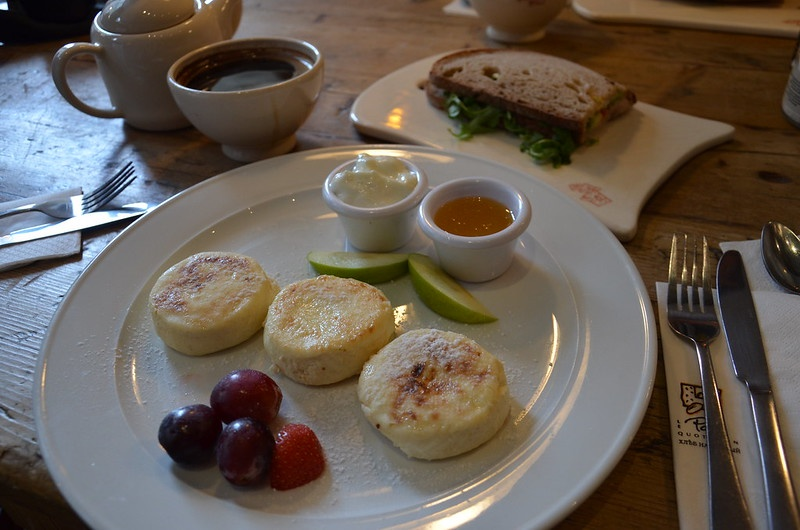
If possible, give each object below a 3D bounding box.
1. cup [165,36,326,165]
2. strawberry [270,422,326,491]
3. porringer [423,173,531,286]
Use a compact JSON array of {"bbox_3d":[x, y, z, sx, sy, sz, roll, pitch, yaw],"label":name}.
[{"bbox_3d":[-0.551,-0.603,2.480,0.454,0.282,0.464,-1,43,1],"label":"cup"},{"bbox_3d":[-0.279,0.533,1.848,0.152,0.046,0.174,1,67,-5],"label":"strawberry"},{"bbox_3d":[0.250,-0.108,2.170,0.322,0.207,0.357,-11,52,3],"label":"porringer"}]
